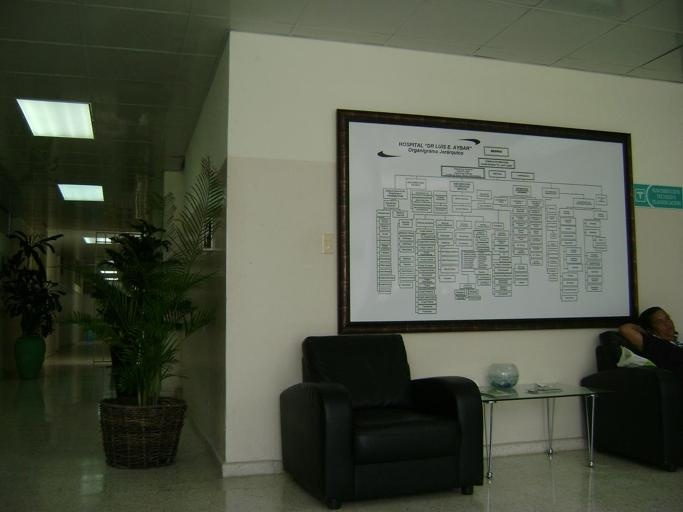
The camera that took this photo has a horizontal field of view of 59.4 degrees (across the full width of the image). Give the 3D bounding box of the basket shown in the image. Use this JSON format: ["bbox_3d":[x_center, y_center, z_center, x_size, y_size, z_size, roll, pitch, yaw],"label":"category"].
[{"bbox_3d":[-1.711,1.490,5.228,0.598,0.414,0.568,1,-5,9],"label":"basket"}]

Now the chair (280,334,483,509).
[{"bbox_3d":[0.293,1.256,4.777,1.440,1.189,0.946,1,-3,-17],"label":"chair"}]

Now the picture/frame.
[{"bbox_3d":[1.428,-0.271,5.650,2.801,1.942,0.039,0,0,-9],"label":"picture/frame"}]

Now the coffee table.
[{"bbox_3d":[1.505,1.455,5.150,0.833,0.492,0.685,-17,-28,32],"label":"coffee table"}]
